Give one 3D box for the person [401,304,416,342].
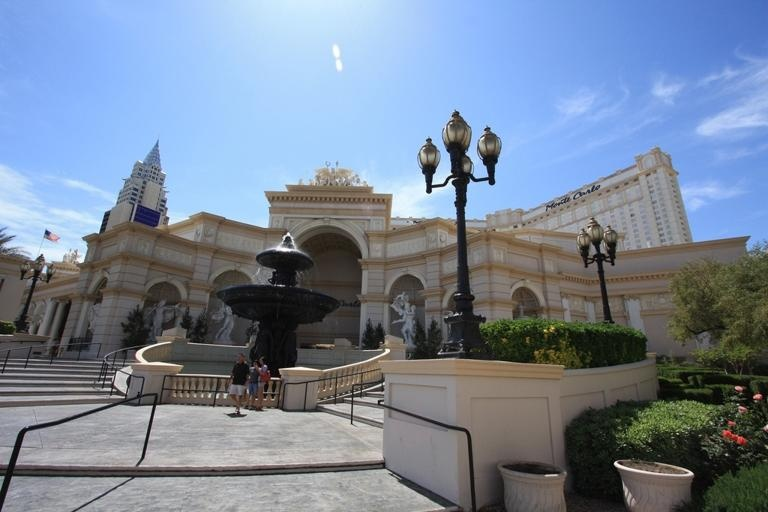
[{"bbox_3d":[1.718,4.575,27.448,0.852,2.793,0.785,1,-16,2],"label":"person"}]
